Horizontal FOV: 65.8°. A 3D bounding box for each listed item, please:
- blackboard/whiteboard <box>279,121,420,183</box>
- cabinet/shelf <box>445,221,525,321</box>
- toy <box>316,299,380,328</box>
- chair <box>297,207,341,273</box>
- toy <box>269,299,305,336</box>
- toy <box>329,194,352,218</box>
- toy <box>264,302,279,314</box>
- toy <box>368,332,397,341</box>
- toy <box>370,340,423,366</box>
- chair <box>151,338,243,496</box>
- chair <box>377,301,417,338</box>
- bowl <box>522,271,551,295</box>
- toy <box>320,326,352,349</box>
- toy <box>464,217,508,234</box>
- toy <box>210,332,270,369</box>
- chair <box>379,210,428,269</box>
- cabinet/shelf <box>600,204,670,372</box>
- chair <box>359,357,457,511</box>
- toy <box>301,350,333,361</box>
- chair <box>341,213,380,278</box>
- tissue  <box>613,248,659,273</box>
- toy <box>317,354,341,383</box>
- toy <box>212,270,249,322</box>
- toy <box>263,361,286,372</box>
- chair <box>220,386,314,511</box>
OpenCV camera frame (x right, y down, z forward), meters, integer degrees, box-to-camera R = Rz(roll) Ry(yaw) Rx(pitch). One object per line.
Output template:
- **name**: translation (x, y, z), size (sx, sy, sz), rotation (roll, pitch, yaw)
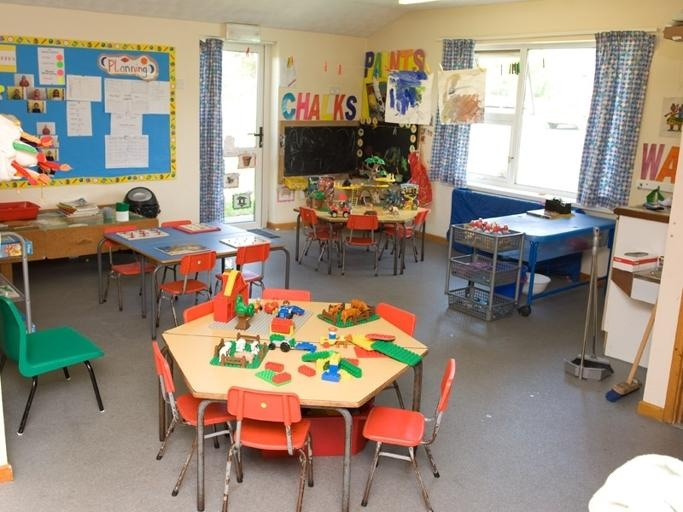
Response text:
- **blackboard/whiteboard**: translation (0.013, -1.799, 8.975), size (1.482, 0.855, 1.476), rotation (-7, 16, -28)
- **cabinet/shelf**: translation (1.602, 0.132, 5.968), size (0.671, 0.970, 0.753), rotation (-16, 22, -41)
- **toy**: translation (0.071, 0.407, 3.818), size (0.288, 0.085, 0.224), rotation (-10, 19, -37)
- **chair**: translation (-0.298, -0.217, 7.399), size (0.651, 1.016, 0.574), rotation (-11, 25, -29)
- **toy**: translation (-0.380, 0.437, 3.689), size (0.144, 0.081, 0.220), rotation (4, 22, 10)
- **toy**: translation (-0.017, -0.679, 7.173), size (0.275, 0.312, 0.423), rotation (-1, 14, -5)
- **toy**: translation (-0.528, 0.387, 3.940), size (0.068, 0.065, 0.095), rotation (2, 10, 8)
- **toy**: translation (0.266, 0.539, 3.522), size (0.108, 0.019, 0.069), rotation (3, 16, 9)
- **toy**: translation (0.349, 0.611, 3.363), size (0.230, 0.045, 0.148), rotation (19, 22, 30)
- **chair**: translation (-0.870, 1.000, 3.233), size (0.569, 0.892, 0.518), rotation (-8, 29, -29)
- **chair**: translation (0.434, 0.449, 3.955), size (0.252, 0.345, 0.248), rotation (10, 14, 34)
- **bowl**: translation (2.319, 0.290, 6.297), size (0.295, 0.150, 0.305), rotation (0, 6, 0)
- **toy**: translation (-0.032, 0.517, 3.478), size (0.139, 0.072, 0.132), rotation (3, 19, 7)
- **toy**: translation (1.660, -0.348, 6.010), size (0.491, 0.140, 0.695), rotation (3, 16, 12)
- **toy**: translation (-0.622, 0.577, 3.220), size (0.209, 0.053, 0.209), rotation (4, 22, 5)
- **chair**: translation (0.866, -0.216, 7.570), size (0.488, 0.761, 0.549), rotation (-20, 35, -37)
- **cabinet/shelf**: translation (2.675, 0.298, 4.876), size (0.423, 1.386, 0.769), rotation (8, 19, 27)
- **chair**: translation (0.413, 1.169, 3.370), size (0.646, 0.970, 0.579), rotation (5, 18, 9)
- **toy**: translation (-0.161, 0.615, 3.262), size (0.151, 0.022, 0.069), rotation (-2, 8, -13)
- **chair**: translation (0.261, -0.118, 7.350), size (0.600, 1.047, 0.655), rotation (0, 32, -4)
- **tissue **: translation (2.687, 0.057, 4.779), size (0.347, 0.148, 0.291), rotation (-4, 16, -9)
- **toy**: translation (-0.072, 0.652, 3.088), size (0.129, 0.098, 0.173), rotation (-2, 16, -3)
- **toy**: translation (-0.813, 0.303, 3.903), size (0.102, 0.272, 0.292), rotation (6, 16, 13)
- **toy**: translation (-0.408, 0.656, 3.136), size (0.084, 0.021, 0.053), rotation (2, 15, 4)
- **chair**: translation (-0.426, 1.115, 3.047), size (0.515, 0.898, 0.569), rotation (3, 29, 2)
